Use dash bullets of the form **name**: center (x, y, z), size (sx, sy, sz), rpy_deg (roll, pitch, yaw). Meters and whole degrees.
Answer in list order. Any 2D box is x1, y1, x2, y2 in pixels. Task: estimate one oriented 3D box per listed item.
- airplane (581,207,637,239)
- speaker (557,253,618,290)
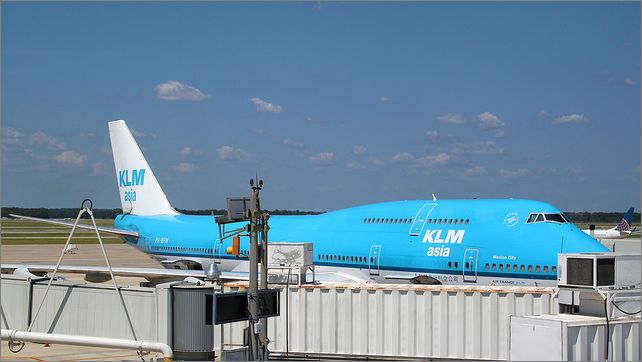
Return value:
- **airplane**: center (65.653, 9.784, 189.933), size (17.080, 5.751, 15.316), rpy_deg (-1, -1, -12)
- **speaker**: center (12.968, 4.317, 40.443), size (0.984, 1.558, 2.386), rpy_deg (0, 0, -35)
